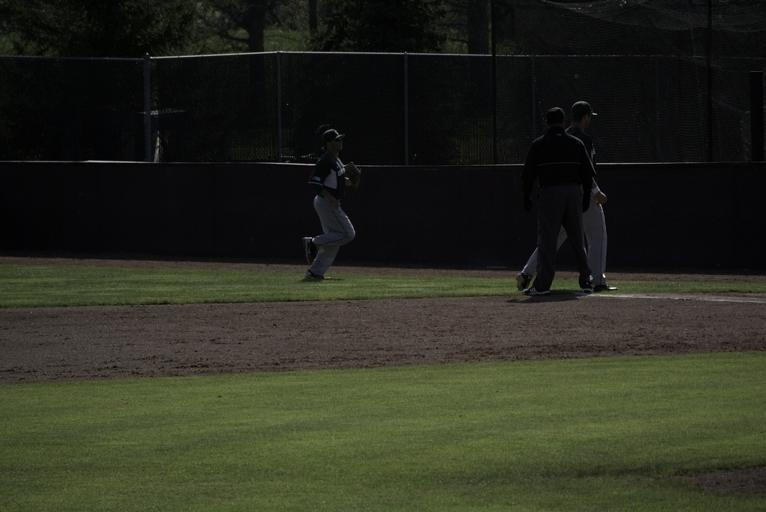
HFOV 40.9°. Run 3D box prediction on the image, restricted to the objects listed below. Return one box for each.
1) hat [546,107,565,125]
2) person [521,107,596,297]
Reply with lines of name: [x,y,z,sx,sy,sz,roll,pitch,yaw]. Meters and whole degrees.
hat: [2.170,-1.767,12.998,0.192,0.236,0.268,4,14,15]
person: [2.189,-0.670,12.950,0.889,2.328,0.374,0,8,9]
